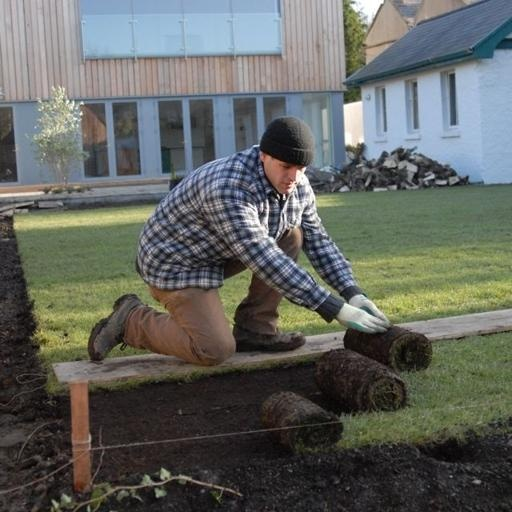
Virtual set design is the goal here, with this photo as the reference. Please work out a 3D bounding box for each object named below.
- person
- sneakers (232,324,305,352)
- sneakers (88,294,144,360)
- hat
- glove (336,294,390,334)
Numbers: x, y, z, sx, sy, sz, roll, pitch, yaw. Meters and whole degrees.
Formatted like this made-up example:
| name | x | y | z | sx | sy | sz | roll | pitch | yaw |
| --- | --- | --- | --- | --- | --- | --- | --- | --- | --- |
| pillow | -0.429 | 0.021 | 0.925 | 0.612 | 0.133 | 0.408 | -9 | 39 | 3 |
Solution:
| name | x | y | z | sx | sy | sz | roll | pitch | yaw |
| --- | --- | --- | --- | --- | --- | --- | --- | --- | --- |
| person | -0.057 | -0.047 | 3.249 | 1.709 | 1.174 | 1.027 | -2 | 5 | 11 |
| sneakers | 0.055 | 0.463 | 3.455 | 0.454 | 0.152 | 0.138 | -2 | 1 | 5 |
| sneakers | -0.712 | 0.351 | 3.485 | 0.227 | 0.248 | 0.626 | -23 | -2 | -5 |
| hat | 0.141 | -0.509 | 2.817 | 0.260 | 0.150 | 0.245 | 9 | 15 | -41 |
| glove | 0.488 | 0.282 | 2.994 | 0.189 | 0.065 | 0.238 | 11 | 13 | -40 |
